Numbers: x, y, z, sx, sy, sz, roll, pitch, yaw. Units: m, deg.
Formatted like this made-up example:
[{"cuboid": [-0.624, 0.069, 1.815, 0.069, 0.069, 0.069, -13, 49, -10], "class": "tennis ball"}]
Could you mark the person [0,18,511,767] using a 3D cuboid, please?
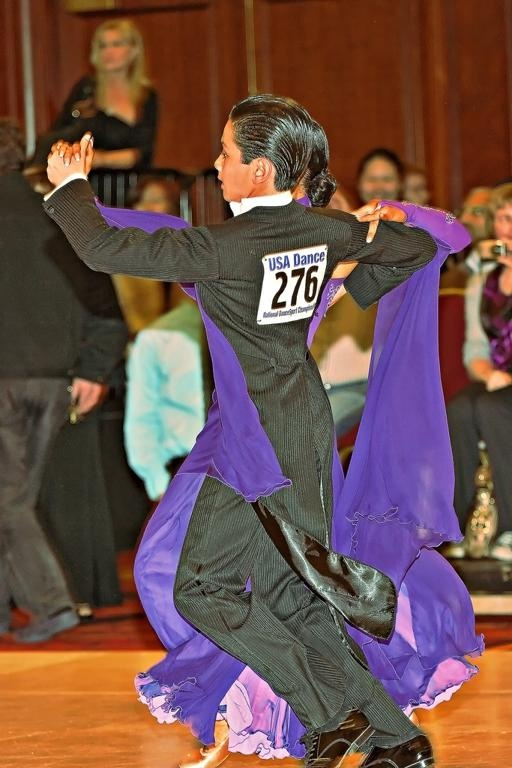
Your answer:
[{"cuboid": [0.038, 0.149, 1.780, 1.031, 1.444, 0.542, 3, -7, -42], "class": "person"}]

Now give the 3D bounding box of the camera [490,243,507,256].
[{"cuboid": [1.025, -0.559, 3.465, 0.062, 0.048, 0.018, -1, -6, 27], "class": "camera"}]
